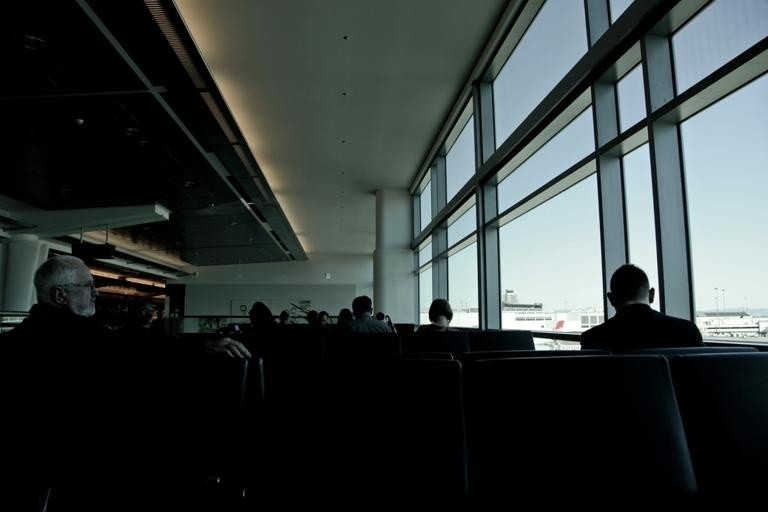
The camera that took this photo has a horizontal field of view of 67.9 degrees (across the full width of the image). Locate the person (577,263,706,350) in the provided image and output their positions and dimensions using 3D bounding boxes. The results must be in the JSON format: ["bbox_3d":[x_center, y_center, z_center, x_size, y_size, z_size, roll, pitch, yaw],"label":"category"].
[{"bbox_3d":[1.707,0.394,3.893,0.821,0.639,0.394,-7,-14,17],"label":"person"}]
